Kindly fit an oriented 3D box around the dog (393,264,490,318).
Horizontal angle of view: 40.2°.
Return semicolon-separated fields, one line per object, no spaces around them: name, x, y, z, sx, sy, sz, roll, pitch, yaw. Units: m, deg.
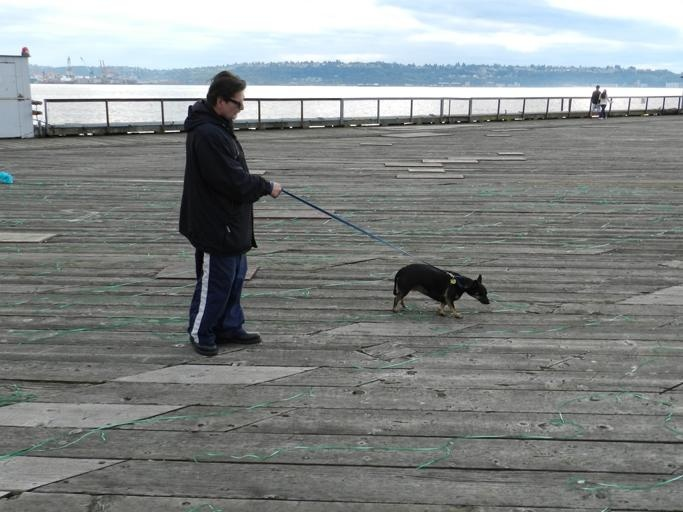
dog;0.623;0.224;5.823;0.659;0.243;0.171;8;3;35

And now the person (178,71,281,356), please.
person;-0.650;-0.241;5.315;0.540;1.604;0.359;-6;15;-19

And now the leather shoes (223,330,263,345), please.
leather shoes;-0.576;0.480;5.457;0.245;0.065;0.086;-2;2;-2
